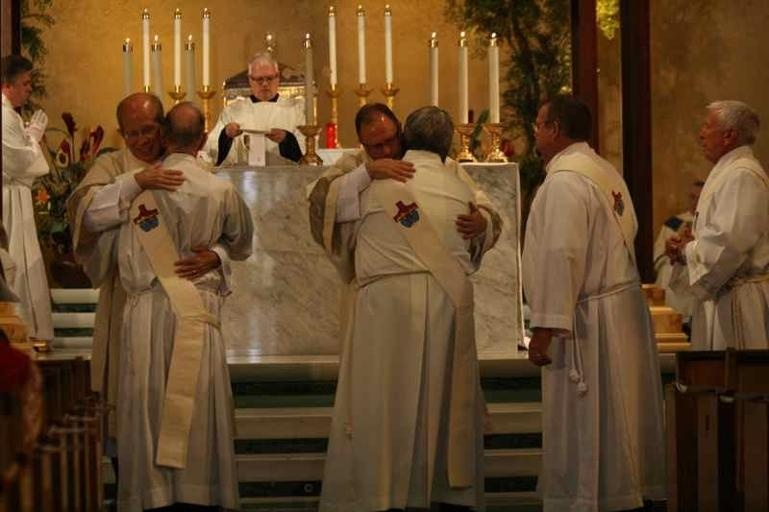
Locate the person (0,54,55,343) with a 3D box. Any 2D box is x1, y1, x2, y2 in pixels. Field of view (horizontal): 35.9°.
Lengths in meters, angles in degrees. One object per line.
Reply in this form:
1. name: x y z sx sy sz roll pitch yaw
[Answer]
1. person: -2.504 -0.423 8.269 0.322 2.062 0.632 -1 -3 -16
